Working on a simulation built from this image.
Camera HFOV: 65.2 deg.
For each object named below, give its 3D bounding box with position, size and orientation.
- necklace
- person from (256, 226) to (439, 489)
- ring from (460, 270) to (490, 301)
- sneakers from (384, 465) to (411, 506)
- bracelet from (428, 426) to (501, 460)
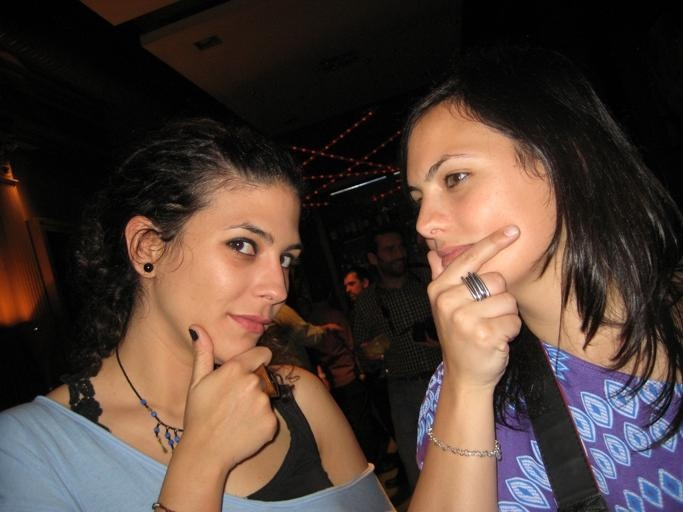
[{"bbox_3d":[-0.819,0.610,2.341,0.181,0.491,0.072,-24,11,20],"label":"necklace"},{"bbox_3d":[0.101,0.676,3.534,0.655,0.834,2.003,18,18,-5],"label":"person"},{"bbox_3d":[0.529,0.120,2.104,0.040,0.106,0.094,-33,-8,-14],"label":"ring"},{"bbox_3d":[0.438,1.802,4.143,0.153,0.355,0.124,4,-24,-38],"label":"sneakers"},{"bbox_3d":[0.493,0.762,2.124,0.186,0.044,0.150,8,0,-6],"label":"bracelet"}]
